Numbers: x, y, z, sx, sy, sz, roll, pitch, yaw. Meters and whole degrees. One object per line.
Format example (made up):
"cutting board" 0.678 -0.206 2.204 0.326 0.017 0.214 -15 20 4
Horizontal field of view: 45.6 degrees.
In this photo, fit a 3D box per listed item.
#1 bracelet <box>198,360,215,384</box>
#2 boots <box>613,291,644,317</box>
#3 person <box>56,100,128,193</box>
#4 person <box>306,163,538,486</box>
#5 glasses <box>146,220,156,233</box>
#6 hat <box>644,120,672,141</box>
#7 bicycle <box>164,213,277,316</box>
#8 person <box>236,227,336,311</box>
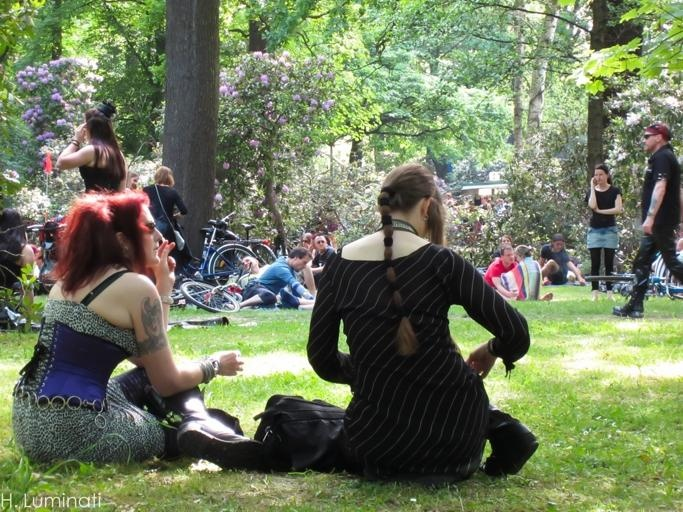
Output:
"bracelet" -0.928 0.781 5.481 0.116 0.136 0.096 -3 3 32
"boots" 3.862 0.675 11.164 0.506 0.395 0.207 11 5 25
"person" -2.422 -1.074 7.952 0.494 0.869 0.799 3 8 6
"person" 0.442 0.409 5.016 1.299 1.919 0.522 1 8 -3
"glasses" -1.235 -0.195 5.244 0.051 0.053 0.051 -3 -7 -12
"hat" 4.188 -1.631 10.754 0.245 0.291 0.317 12 6 6
"bicycle" -2.073 0.268 13.469 0.992 1.233 2.060 -12 -4 32
"person" -1.071 0.377 13.579 1.053 0.747 1.535 -3 -6 23
